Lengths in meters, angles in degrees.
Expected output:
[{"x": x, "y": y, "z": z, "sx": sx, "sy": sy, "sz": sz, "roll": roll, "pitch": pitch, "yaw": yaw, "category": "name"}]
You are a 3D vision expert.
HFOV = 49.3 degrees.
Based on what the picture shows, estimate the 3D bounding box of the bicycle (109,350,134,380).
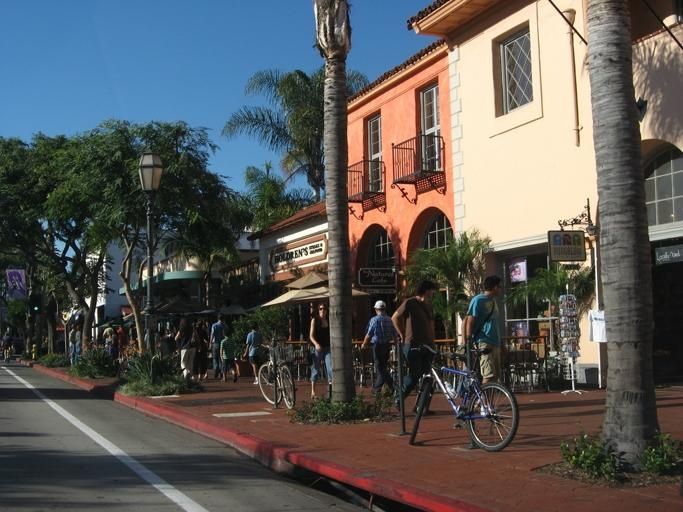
[{"x": -7.495, "y": 3.762, "z": 25.429, "sx": 0.623, "sy": 0.865, "sz": 1.308, "roll": 11, "pitch": -20, "yaw": -26, "category": "bicycle"}]

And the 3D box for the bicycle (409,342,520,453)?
[{"x": 1.634, "y": 2.066, "z": 10.826, "sx": 2.103, "sy": 1.412, "sz": 1.062, "roll": -3, "pitch": -13, "yaw": 38, "category": "bicycle"}]

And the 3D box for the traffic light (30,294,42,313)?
[{"x": -15.763, "y": 2.457, "z": 38.341, "sx": 0.524, "sy": 1.087, "sz": 1.065, "roll": 3, "pitch": -13, "yaw": -25, "category": "traffic light"}]

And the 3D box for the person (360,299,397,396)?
[{"x": 0.811, "y": 1.780, "z": 14.804, "sx": 0.575, "sy": 1.879, "sz": 1.235, "roll": -3, "pitch": -11, "yaw": 1, "category": "person"}]

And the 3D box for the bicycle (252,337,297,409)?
[{"x": -1.515, "y": 2.425, "z": 16.395, "sx": 0.662, "sy": 0.976, "sz": 1.446, "roll": 4, "pitch": -16, "yaw": -28, "category": "bicycle"}]
